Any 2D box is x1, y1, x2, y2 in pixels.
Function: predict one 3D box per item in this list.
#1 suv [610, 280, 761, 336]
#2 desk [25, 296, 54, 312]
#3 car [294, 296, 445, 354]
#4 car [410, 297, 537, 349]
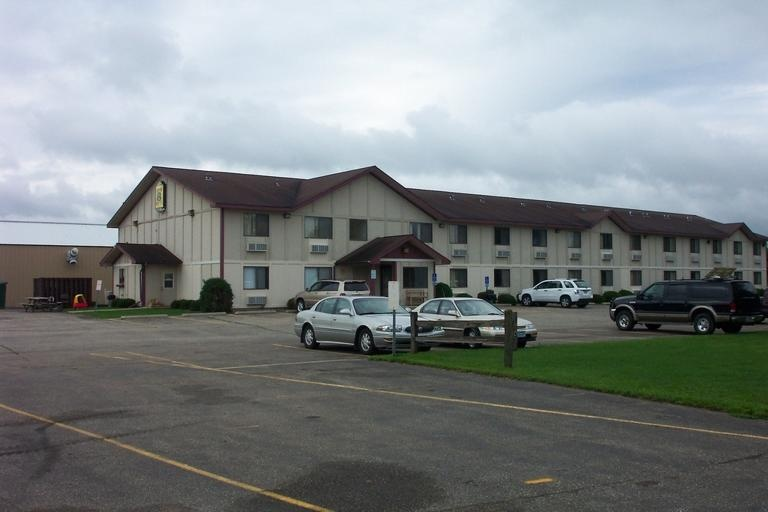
[{"bbox_3d":[12.205,2.038,26.025,4.891,2.188,0.987,-3,-8,39],"label":"suv"},{"bbox_3d":[-25.097,3.520,46.384,1.939,0.949,1.495,0,0,-5],"label":"desk"},{"bbox_3d":[-0.601,2.300,21.547,5.297,1.930,1.836,-4,-9,43],"label":"car"},{"bbox_3d":[2.994,2.273,22.087,1.992,1.595,4.757,1,-3,-34],"label":"car"}]
